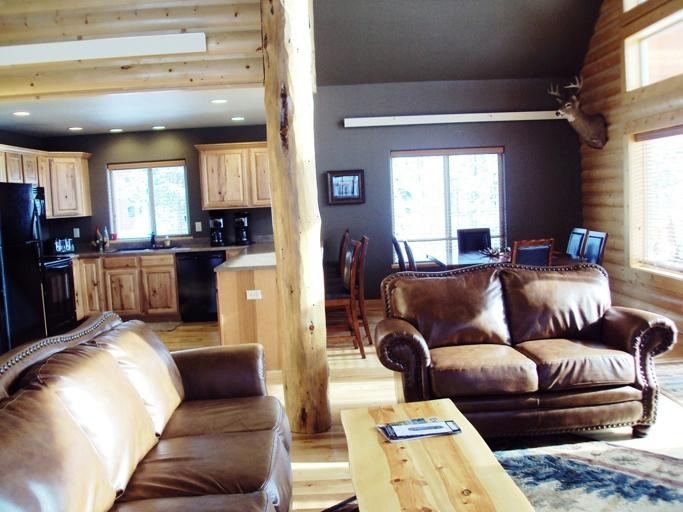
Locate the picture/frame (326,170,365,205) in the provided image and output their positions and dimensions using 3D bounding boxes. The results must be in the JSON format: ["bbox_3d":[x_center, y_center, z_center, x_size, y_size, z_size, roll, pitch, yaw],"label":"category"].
[{"bbox_3d":[0.069,-0.941,7.646,0.515,0.391,0.051,0,1,0],"label":"picture/frame"}]

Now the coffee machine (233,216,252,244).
[{"bbox_3d":[-1.404,-0.360,7.845,0.228,0.437,0.317,-5,5,-11],"label":"coffee machine"}]

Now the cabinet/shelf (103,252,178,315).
[{"bbox_3d":[-2.688,0.342,7.440,0.948,0.784,0.423,0,1,-2],"label":"cabinet/shelf"}]

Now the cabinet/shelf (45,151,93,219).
[{"bbox_3d":[-3.796,-0.980,7.776,0.571,0.866,0.192,-8,6,-38],"label":"cabinet/shelf"}]

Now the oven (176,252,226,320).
[{"bbox_3d":[-1.887,0.449,7.662,0.550,0.907,0.556,-2,1,6],"label":"oven"}]

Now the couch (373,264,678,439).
[{"bbox_3d":[1.337,0.661,4.113,2.451,1.270,1.194,-1,2,-2],"label":"couch"}]

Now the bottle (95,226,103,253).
[{"bbox_3d":[-3.487,-0.244,7.969,0.110,0.347,0.258,-8,6,-34],"label":"bottle"}]

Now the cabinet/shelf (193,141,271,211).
[{"bbox_3d":[-1.477,-1.105,7.620,1.328,0.982,0.405,-1,1,0],"label":"cabinet/shelf"}]

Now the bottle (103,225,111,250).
[{"bbox_3d":[-3.400,-0.258,7.990,0.070,0.338,0.153,-5,5,-10],"label":"bottle"}]
